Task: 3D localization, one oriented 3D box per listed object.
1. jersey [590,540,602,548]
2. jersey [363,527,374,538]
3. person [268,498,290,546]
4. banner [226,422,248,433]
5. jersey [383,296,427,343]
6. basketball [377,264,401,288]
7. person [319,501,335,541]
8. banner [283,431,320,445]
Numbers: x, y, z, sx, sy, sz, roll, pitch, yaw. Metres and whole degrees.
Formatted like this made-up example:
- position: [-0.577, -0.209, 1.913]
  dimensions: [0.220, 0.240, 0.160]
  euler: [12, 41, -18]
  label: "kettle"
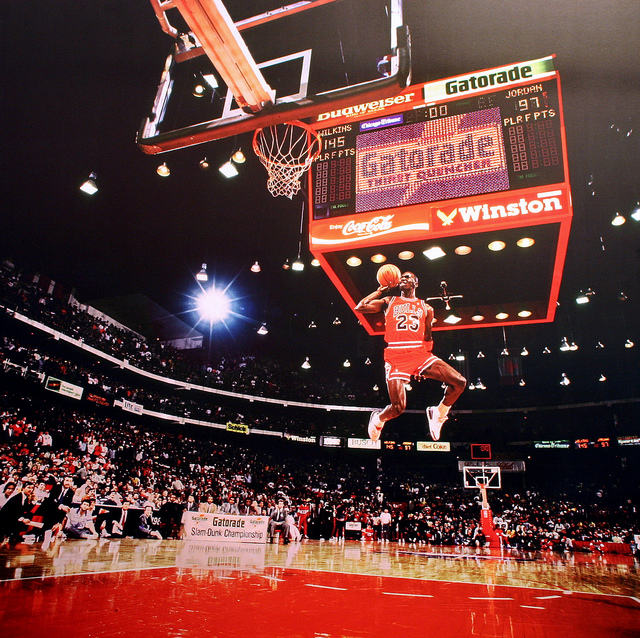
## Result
- position: [10.224, 8.265, 17.880]
  dimensions: [0.311, 0.257, 0.523]
  euler: [-10, -30, 25]
  label: "jersey"
- position: [1.893, 8.404, 19.124]
  dimensions: [0.208, 0.356, 0.769]
  euler: [-8, -29, 22]
  label: "jersey"
- position: [-1.157, 5.628, 13.570]
  dimensions: [0.578, 1.190, 1.066]
  euler: [6, -27, -2]
  label: "person"
- position: [-4.466, 5.682, 25.564]
  dimensions: [0.239, 0.507, 1.411]
  euler: [-18, -34, 36]
  label: "banner"
- position: [0.859, 0.023, 4.839]
  dimensions: [0.411, 0.546, 0.309]
  euler: [3, -14, 5]
  label: "jersey"
- position: [0.644, -0.421, 4.687]
  dimensions: [0.208, 0.228, 0.201]
  euler: [-3, 4, -22]
  label: "basketball"
- position: [0.188, 7.701, 18.340]
  dimensions: [0.687, 0.600, 2.121]
  euler: [-1, 16, 5]
  label: "person"
- position: [-1.145, 6.866, 28.149]
  dimensions: [2.094, 0.515, 0.962]
  euler: [11, -28, -15]
  label: "banner"
